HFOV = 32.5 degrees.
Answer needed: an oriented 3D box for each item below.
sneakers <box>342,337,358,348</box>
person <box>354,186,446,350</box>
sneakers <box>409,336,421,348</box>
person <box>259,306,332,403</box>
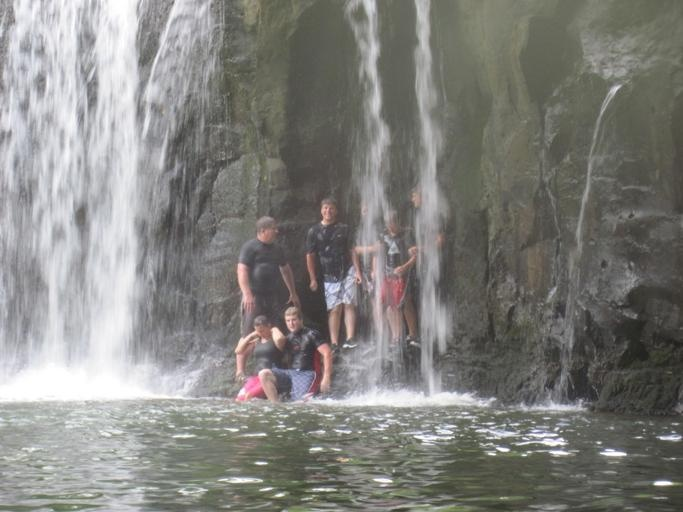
[{"bbox_3d":[0.111,1.151,15.450,0.196,0.137,0.146,-1,-8,3],"label":"sneakers"},{"bbox_3d":[0.739,0.165,15.731,0.797,2.111,0.282,-4,-8,26],"label":"person"},{"bbox_3d":[0.965,1.128,15.369,0.071,0.092,0.196,11,-8,-37],"label":"sneakers"},{"bbox_3d":[-0.620,1.414,15.095,0.916,1.497,0.809,0,-19,-14],"label":"person"}]
